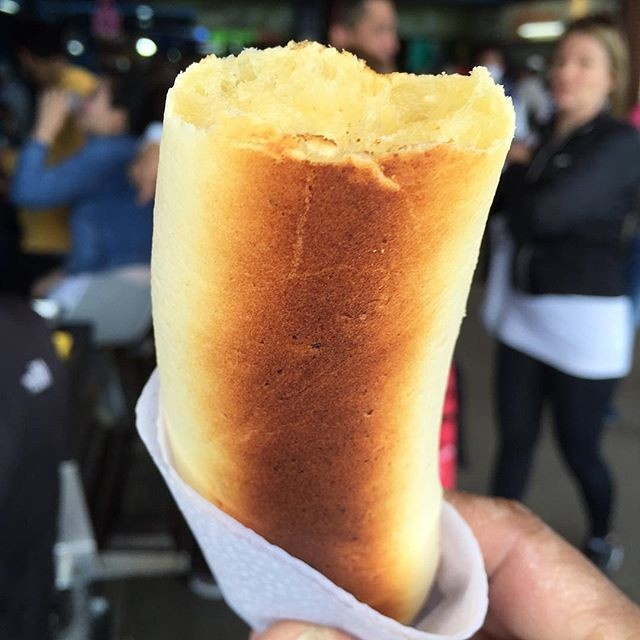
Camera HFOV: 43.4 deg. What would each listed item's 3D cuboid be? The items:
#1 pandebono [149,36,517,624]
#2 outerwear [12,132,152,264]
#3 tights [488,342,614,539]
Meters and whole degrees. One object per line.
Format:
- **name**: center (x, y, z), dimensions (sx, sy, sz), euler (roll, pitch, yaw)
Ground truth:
- **pandebono**: center (-0.001, 0.022, 0.455), dimensions (0.155, 0.334, 0.133), euler (15, 35, 26)
- **outerwear**: center (-0.328, -0.162, 1.100), dimensions (0.139, 0.306, 0.089), euler (-33, 77, -28)
- **tights**: center (0.253, 0.122, 0.865), dimensions (0.129, 0.249, 0.071), euler (11, 34, 22)
